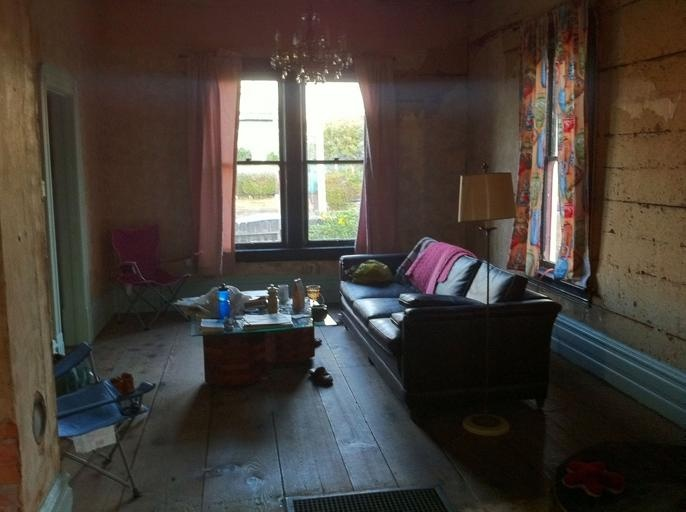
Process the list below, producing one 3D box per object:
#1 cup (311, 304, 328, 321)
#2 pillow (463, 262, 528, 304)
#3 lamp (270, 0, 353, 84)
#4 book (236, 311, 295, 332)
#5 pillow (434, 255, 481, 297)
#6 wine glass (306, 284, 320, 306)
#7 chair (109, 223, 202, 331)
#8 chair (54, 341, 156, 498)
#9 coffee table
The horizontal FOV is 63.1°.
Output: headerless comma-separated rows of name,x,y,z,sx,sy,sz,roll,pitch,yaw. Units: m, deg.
cup,-0.191,0.468,4.623,0.142,0.124,0.091,2,-2,-40
pillow,1.097,0.252,4.265,0.181,0.342,0.494,23,-1,-28
lamp,-0.278,-1.842,4.876,0.673,0.620,0.274,-2,13,-2
book,-0.619,0.509,4.466,0.446,0.048,0.399,-3,12,-7
pillow,1.003,0.161,4.681,0.124,0.354,0.348,24,-4,-16
wine glass,-0.269,0.364,5.050,0.138,0.219,0.139,-1,6,-5
chair,-2.055,0.215,6.070,0.761,0.972,0.722,5,11,8
chair,-1.411,0.983,3.304,0.473,0.704,0.915,-8,14,-29
coffee table,-0.776,0.766,4.995,1.039,0.425,1.230,-5,0,-4
